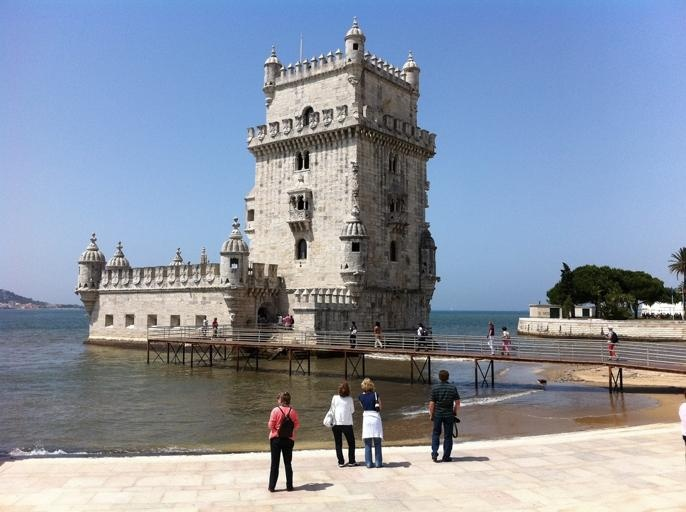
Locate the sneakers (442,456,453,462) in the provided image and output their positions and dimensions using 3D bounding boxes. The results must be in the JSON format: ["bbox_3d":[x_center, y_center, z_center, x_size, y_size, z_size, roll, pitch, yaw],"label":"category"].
[{"bbox_3d":[2.998,5.823,20.564,0.312,0.141,0.119,-3,-1,1],"label":"sneakers"}]

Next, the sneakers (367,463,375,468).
[{"bbox_3d":[0.764,5.884,20.065,0.141,0.144,0.089,0,8,-13],"label":"sneakers"}]

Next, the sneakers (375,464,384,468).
[{"bbox_3d":[1.041,5.888,20.080,0.224,0.088,0.124,9,-13,-42],"label":"sneakers"}]

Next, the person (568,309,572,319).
[{"bbox_3d":[27.512,6.886,86.610,0.588,1.110,2.516,-3,-10,20],"label":"person"}]

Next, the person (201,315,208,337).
[{"bbox_3d":[-10.027,5.021,51.761,0.443,1.583,2.453,2,-10,-11],"label":"person"}]

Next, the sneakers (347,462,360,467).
[{"bbox_3d":[0.291,5.872,20.256,0.314,0.141,0.118,-1,-2,-11],"label":"sneakers"}]

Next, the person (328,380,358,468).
[{"bbox_3d":[-0.012,4.759,20.193,0.738,2.314,1.194,0,-9,2],"label":"person"}]

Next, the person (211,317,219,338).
[{"bbox_3d":[-9.009,4.980,50.355,0.430,1.375,1.574,2,-10,-10],"label":"person"}]

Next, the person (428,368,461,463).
[{"bbox_3d":[2.918,4.600,20.577,0.777,2.595,1.140,-1,-9,7],"label":"person"}]

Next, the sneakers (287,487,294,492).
[{"bbox_3d":[-1.379,6.110,18.800,0.126,0.130,0.201,-4,-11,23],"label":"sneakers"}]

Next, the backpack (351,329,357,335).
[{"bbox_3d":[0.630,4.497,41.517,0.259,0.394,0.370,1,11,1],"label":"backpack"}]
